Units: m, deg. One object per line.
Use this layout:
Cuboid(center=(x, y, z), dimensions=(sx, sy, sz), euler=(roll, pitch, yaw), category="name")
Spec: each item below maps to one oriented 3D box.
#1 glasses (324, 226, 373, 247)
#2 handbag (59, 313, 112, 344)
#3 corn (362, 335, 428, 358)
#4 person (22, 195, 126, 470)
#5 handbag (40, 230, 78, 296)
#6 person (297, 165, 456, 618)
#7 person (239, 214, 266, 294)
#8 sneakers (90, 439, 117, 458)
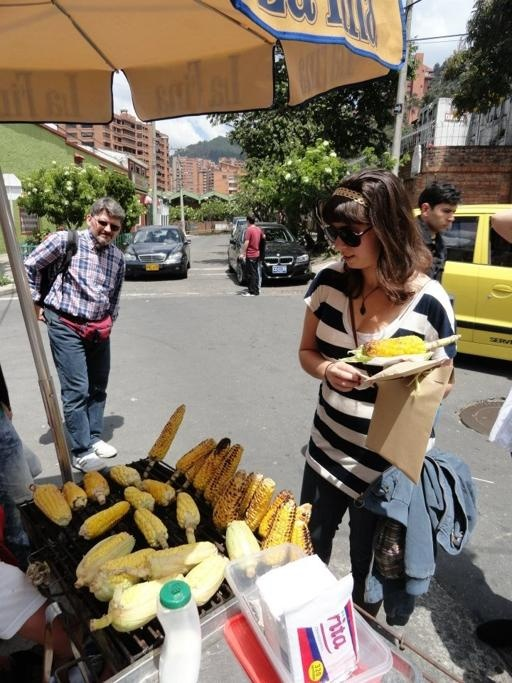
Cuboid(center=(0.327, -0.379, 1.623), dimensions=(0.116, 0.035, 0.108), euler=(-9, 23, -33), category="glasses")
Cuboid(center=(-1.272, -0.113, 3.427), dimensions=(0.266, 0.101, 0.186), euler=(16, 11, 7), category="handbag")
Cuboid(center=(0.418, 0.017, 1.362), dimensions=(0.132, 0.050, 0.077), euler=(-9, 32, 24), category="corn")
Cuboid(center=(-1.265, -0.057, 3.734), dimensions=(0.944, 2.006, 1.010), euler=(0, 3, 3), category="person")
Cuboid(center=(-1.440, -0.584, 3.447), dimensions=(0.293, 0.498, 0.313), euler=(-2, 12, -9), category="handbag")
Cuboid(center=(0.442, 0.295, 1.797), dimensions=(0.526, 1.828, 0.738), euler=(-6, 19, -15), category="person")
Cuboid(center=(-0.080, -2.275, 12.033), dimensions=(0.680, 2.025, 0.652), euler=(-3, 11, -38), category="person")
Cuboid(center=(-1.288, 0.904, 3.811), dimensions=(0.228, 0.097, 0.103), euler=(3, 18, 39), category="sneakers")
